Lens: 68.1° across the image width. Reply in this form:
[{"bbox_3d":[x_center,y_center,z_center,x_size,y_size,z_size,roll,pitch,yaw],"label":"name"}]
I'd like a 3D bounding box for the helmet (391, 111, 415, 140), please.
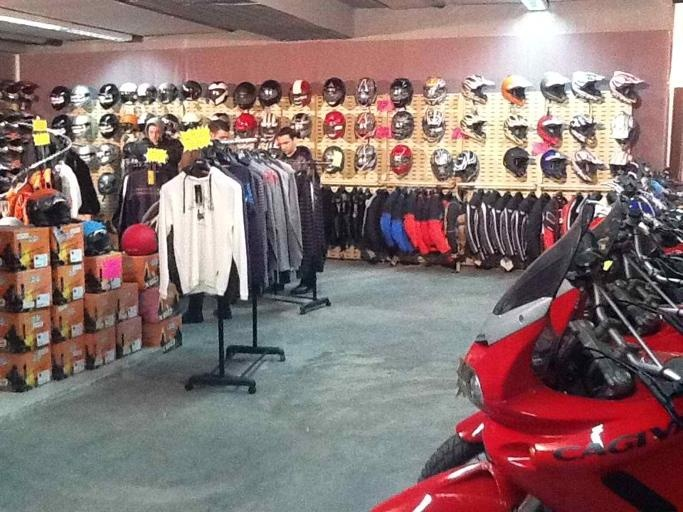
[{"bbox_3d":[1.004,-2.105,8.116,0.328,0.391,0.441,3,44,12],"label":"helmet"}]

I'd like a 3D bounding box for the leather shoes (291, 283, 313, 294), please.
[{"bbox_3d":[-0.475,0.394,6.037,0.239,0.095,0.095,2,-3,-35],"label":"leather shoes"}]

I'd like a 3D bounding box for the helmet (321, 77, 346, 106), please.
[{"bbox_3d":[-0.134,-2.687,8.281,0.352,0.463,0.453,3,15,11],"label":"helmet"}]

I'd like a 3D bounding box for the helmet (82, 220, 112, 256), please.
[{"bbox_3d":[-1.987,-0.145,4.008,0.255,0.212,0.191,-1,9,20],"label":"helmet"}]

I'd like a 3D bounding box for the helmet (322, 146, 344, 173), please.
[{"bbox_3d":[-0.137,-1.600,8.348,0.382,0.459,0.230,1,10,0],"label":"helmet"}]

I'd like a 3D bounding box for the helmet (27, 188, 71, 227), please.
[{"bbox_3d":[-2.056,-0.340,3.622,0.282,0.233,0.229,-4,25,-13],"label":"helmet"}]

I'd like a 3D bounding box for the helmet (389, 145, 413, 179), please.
[{"bbox_3d":[0.949,-1.527,8.048,0.343,0.474,0.469,4,19,20],"label":"helmet"}]

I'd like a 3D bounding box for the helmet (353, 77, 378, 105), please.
[{"bbox_3d":[0.398,-2.640,8.131,0.306,0.442,0.147,6,3,17],"label":"helmet"}]

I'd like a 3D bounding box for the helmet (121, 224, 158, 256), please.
[{"bbox_3d":[-1.699,-0.133,4.247,0.178,0.209,0.183,7,41,31],"label":"helmet"}]

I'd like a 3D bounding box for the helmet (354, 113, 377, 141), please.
[{"bbox_3d":[0.379,-2.107,8.145,0.311,0.394,0.415,0,47,8],"label":"helmet"}]

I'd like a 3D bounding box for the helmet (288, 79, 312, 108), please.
[{"bbox_3d":[-0.689,-2.695,8.391,0.318,0.440,0.434,3,25,16],"label":"helmet"}]

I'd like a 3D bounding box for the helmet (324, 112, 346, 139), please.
[{"bbox_3d":[-0.117,-2.149,8.266,0.340,0.421,0.440,1,18,8],"label":"helmet"}]

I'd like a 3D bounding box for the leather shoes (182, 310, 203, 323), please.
[{"bbox_3d":[-1.501,0.602,5.066,0.199,0.115,0.118,-1,10,-10],"label":"leather shoes"}]

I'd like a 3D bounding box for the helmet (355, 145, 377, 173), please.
[{"bbox_3d":[0.381,-1.580,8.171,0.317,0.436,0.155,5,6,6],"label":"helmet"}]

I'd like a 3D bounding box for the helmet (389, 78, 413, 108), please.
[{"bbox_3d":[0.939,-2.593,8.011,0.345,0.456,0.454,6,27,31],"label":"helmet"}]
